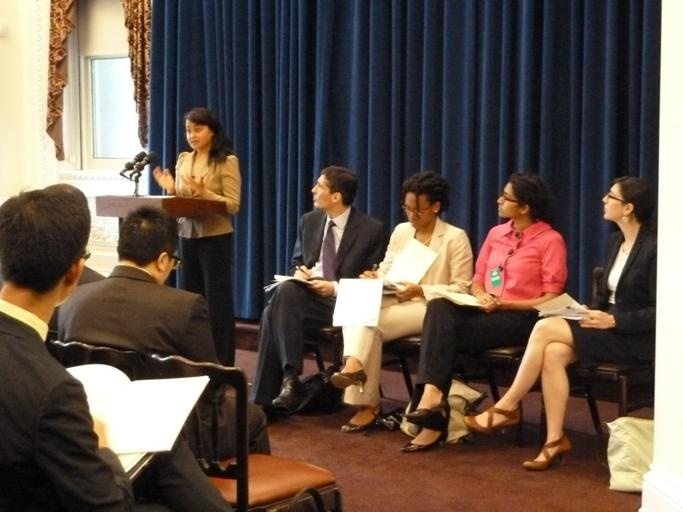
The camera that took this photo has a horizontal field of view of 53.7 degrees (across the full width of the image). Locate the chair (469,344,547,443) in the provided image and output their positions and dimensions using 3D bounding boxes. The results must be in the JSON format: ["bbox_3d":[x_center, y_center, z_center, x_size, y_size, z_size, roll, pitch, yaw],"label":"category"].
[{"bbox_3d":[0.881,0.756,3.667,0.517,0.540,0.413,-4,-7,38],"label":"chair"}]

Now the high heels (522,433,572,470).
[{"bbox_3d":[0.965,0.933,3.231,0.222,0.158,0.112,-3,7,-15],"label":"high heels"}]

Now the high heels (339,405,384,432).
[{"bbox_3d":[0.113,0.919,3.805,0.090,0.126,0.270,1,-2,42],"label":"high heels"}]

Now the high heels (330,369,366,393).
[{"bbox_3d":[0.033,0.660,3.589,0.192,0.089,0.095,7,39,-22],"label":"high heels"}]

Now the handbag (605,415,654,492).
[{"bbox_3d":[1.304,0.914,3.051,0.245,0.326,0.192,4,-3,-22],"label":"handbag"}]

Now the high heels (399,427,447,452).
[{"bbox_3d":[0.422,0.970,3.484,0.284,0.065,0.093,-17,13,-35],"label":"high heels"}]

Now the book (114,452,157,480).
[{"bbox_3d":[-0.507,0.506,1.652,0.056,0.015,0.059,0,10,16],"label":"book"}]

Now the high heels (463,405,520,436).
[{"bbox_3d":[0.746,0.804,3.368,0.227,0.108,0.135,-4,2,-4],"label":"high heels"}]

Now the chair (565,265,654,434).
[{"bbox_3d":[1.348,0.523,3.409,0.377,0.878,0.659,2,7,20],"label":"chair"}]

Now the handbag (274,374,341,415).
[{"bbox_3d":[-0.183,0.824,3.961,0.150,0.226,0.486,-3,-11,39],"label":"handbag"}]

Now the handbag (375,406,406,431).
[{"bbox_3d":[0.269,0.923,3.798,0.123,0.057,0.173,-19,10,-40],"label":"handbag"}]

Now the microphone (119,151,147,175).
[{"bbox_3d":[-1.339,-0.612,4.421,0.144,0.139,0.429,-3,7,-18],"label":"microphone"}]

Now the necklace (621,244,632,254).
[{"bbox_3d":[1.450,-0.032,3.467,0.040,0.034,0.041,14,36,23],"label":"necklace"}]

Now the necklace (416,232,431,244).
[{"bbox_3d":[0.484,-0.102,4.052,0.072,0.069,0.057,17,8,31],"label":"necklace"}]

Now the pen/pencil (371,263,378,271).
[{"bbox_3d":[0.199,0.071,4.198,0.020,0.026,0.082,11,25,21],"label":"pen/pencil"}]

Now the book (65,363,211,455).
[{"bbox_3d":[-0.517,0.392,1.712,0.359,0.086,0.206,9,38,-7],"label":"book"}]

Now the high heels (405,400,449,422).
[{"bbox_3d":[0.428,0.794,3.368,0.241,0.095,0.046,-4,8,-27],"label":"high heels"}]
